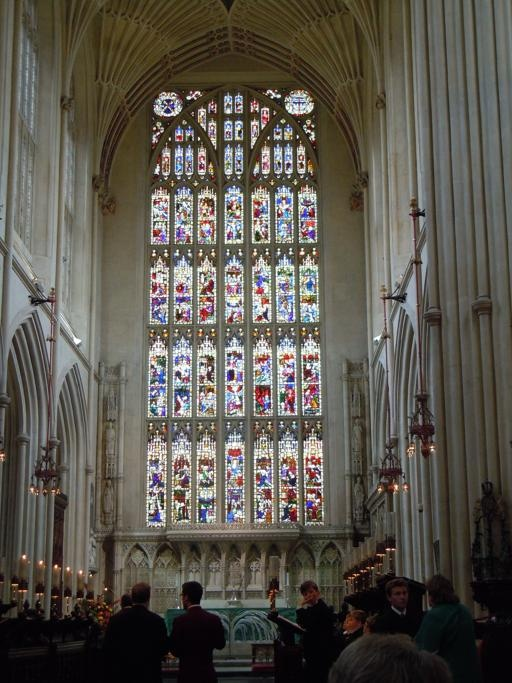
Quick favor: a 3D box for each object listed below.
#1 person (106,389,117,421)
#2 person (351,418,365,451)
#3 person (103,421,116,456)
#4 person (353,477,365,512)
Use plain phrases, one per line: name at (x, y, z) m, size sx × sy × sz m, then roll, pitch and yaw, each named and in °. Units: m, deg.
person at (-3.960, 1.749, 30.172) m, size 0.290 × 0.937 × 0.248 m, roll 0°, pitch -15°, yaw -8°
person at (2.730, 2.462, 29.587) m, size 0.321 × 0.882 × 0.281 m, roll -4°, pitch -15°, yaw 7°
person at (-3.942, 2.609, 29.835) m, size 0.271 × 0.994 × 0.208 m, roll 1°, pitch -15°, yaw -10°
person at (2.714, 4.011, 29.007) m, size 0.348 × 0.955 × 0.216 m, roll -1°, pitch -15°, yaw -3°
